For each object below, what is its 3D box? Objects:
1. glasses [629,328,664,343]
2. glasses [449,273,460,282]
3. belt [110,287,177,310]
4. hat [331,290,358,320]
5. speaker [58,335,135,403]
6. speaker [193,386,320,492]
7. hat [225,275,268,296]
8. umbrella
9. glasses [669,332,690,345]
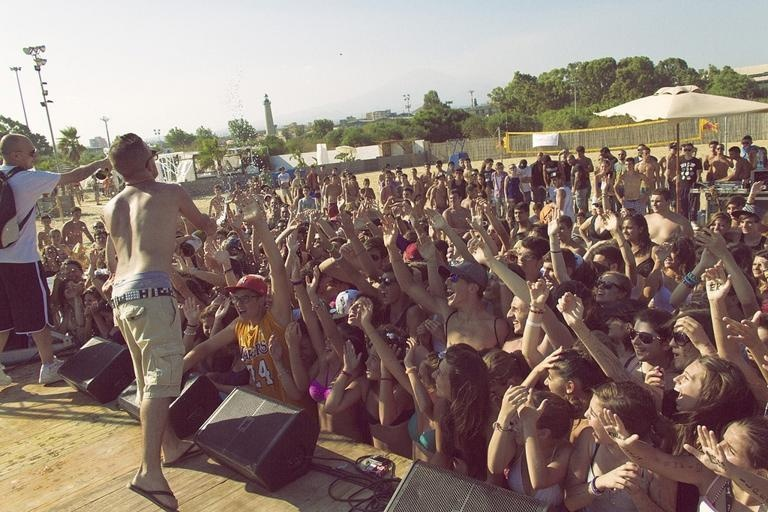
[{"bbox_3d":[2.161,0.674,4.384,0.133,0.050,0.127,15,-5,-28],"label":"glasses"},{"bbox_3d":[0.656,0.202,4.995,0.054,0.083,0.074,16,12,27],"label":"glasses"},{"bbox_3d":[-1.929,0.318,4.179,0.511,0.155,0.193,-6,12,16],"label":"belt"},{"bbox_3d":[-0.419,0.504,5.627,0.348,0.190,0.212,-45,10,-10],"label":"hat"},{"bbox_3d":[-2.985,1.160,5.528,0.744,0.541,0.589,5,56,47],"label":"speaker"},{"bbox_3d":[-1.017,1.411,4.182,0.875,0.595,0.675,5,31,41],"label":"speaker"},{"bbox_3d":[-1.300,0.271,5.083,0.286,0.156,0.208,6,0,-8],"label":"hat"},{"bbox_3d":[6.320,-2.088,11.656,2.763,2.676,2.891,-4,7,-4],"label":"umbrella"},{"bbox_3d":[2.350,0.664,4.256,0.101,0.045,0.095,13,-6,-26],"label":"glasses"}]
